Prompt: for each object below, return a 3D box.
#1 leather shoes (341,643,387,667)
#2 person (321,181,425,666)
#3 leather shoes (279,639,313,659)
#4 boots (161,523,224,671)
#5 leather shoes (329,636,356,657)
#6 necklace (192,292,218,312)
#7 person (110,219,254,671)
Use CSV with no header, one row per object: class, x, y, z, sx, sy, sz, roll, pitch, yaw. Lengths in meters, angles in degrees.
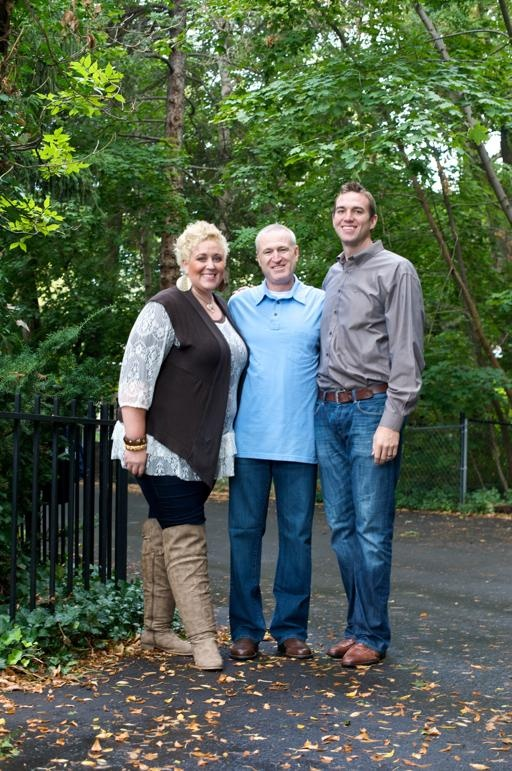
leather shoes,0.488,1.222,3.393,0.196,0.074,0.073,18,-47,-38
person,0.544,0.144,3.593,0.600,2.317,0.358,-3,-8,34
leather shoes,0.191,1.262,3.585,0.072,0.070,0.179,1,-14,-29
boots,-0.293,0.966,3.481,0.191,0.620,0.425,8,-9,-42
leather shoes,0.416,1.261,3.611,0.054,0.065,0.163,-10,-8,44
necklace,-0.247,-0.386,3.627,0.080,0.106,0.043,-18,-24,-50
person,-0.363,0.227,3.579,0.628,2.110,0.507,3,-7,-10
